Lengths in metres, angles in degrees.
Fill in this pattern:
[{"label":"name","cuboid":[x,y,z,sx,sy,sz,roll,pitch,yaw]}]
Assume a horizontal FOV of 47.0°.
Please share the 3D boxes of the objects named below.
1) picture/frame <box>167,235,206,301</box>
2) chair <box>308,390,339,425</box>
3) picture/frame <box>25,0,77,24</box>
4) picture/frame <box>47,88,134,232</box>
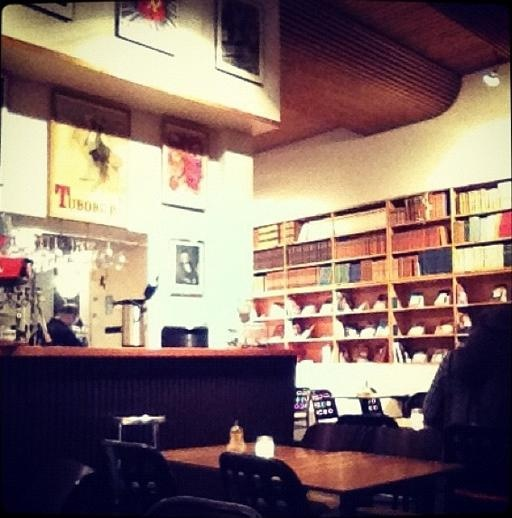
[{"label":"picture/frame","cuboid":[-0.661,0.099,5.451,0.444,0.768,0.081,6,-10,-42]},{"label":"chair","cuboid":[0.646,1.457,5.607,0.216,0.336,0.930,0,-4,5]},{"label":"picture/frame","cuboid":[-1.455,-1.794,4.189,0.360,0.171,0.040,5,-5,-43]},{"label":"picture/frame","cuboid":[-1.372,-0.799,4.784,0.087,1.385,0.817,-6,-10,42]}]
